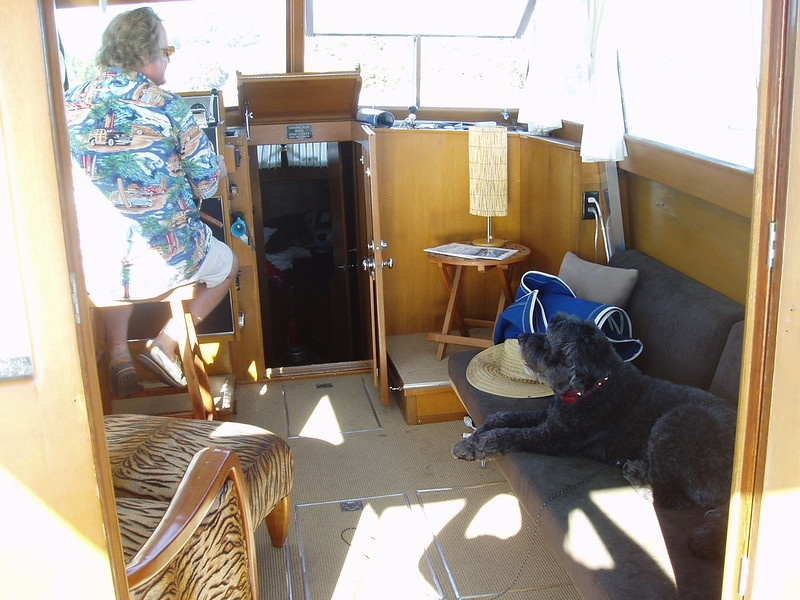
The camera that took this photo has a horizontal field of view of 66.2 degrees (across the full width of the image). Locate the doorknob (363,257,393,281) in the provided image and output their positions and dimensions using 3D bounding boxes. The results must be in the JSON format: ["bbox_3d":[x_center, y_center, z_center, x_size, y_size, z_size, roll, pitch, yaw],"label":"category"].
[{"bbox_3d":[-0.134,-0.195,3.591,0.172,0.133,0.141,-5,42,-5],"label":"doorknob"}]

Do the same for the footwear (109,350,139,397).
[{"bbox_3d":[-1.407,0.377,3.157,0.099,0.283,0.124,-21,47,-29],"label":"footwear"}]

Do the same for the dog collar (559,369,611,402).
[{"bbox_3d":[0.695,0.334,2.306,0.137,0.038,0.113,-29,3,7],"label":"dog collar"}]

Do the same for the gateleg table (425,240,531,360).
[{"bbox_3d":[0.477,-0.058,4.024,0.693,0.818,0.723,10,32,14],"label":"gateleg table"}]

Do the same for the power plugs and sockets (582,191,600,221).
[{"bbox_3d":[1.086,-0.545,3.509,0.094,0.156,0.043,2,19,9],"label":"power plugs and sockets"}]

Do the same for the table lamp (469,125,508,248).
[{"bbox_3d":[0.490,-0.698,3.832,0.274,0.723,0.303,1,18,-6],"label":"table lamp"}]

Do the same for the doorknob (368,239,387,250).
[{"bbox_3d":[-0.127,-0.313,3.474,0.108,0.043,0.081,-1,1,-5],"label":"doorknob"}]
